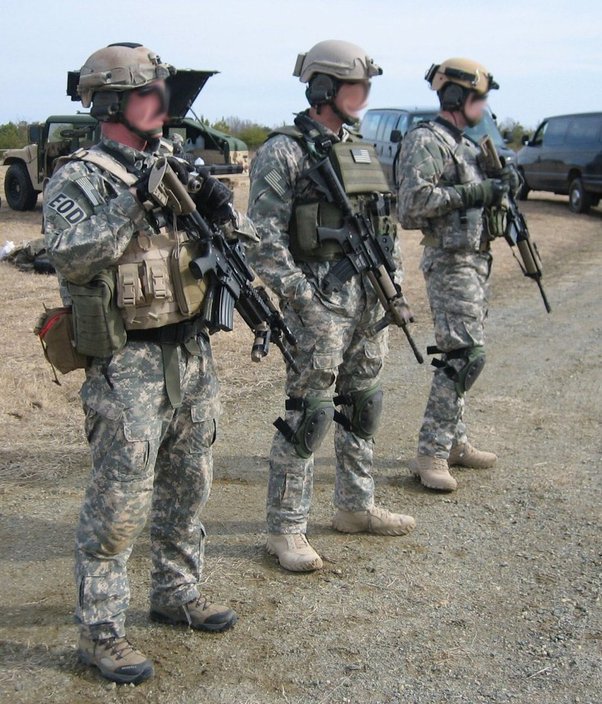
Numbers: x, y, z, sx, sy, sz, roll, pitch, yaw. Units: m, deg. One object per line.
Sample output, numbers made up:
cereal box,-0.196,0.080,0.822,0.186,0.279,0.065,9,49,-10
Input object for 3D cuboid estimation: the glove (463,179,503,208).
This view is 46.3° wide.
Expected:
glove,0.993,-0.871,3.868,0.157,0.080,0.174,3,-30,-4

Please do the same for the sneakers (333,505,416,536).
sneakers,0.362,0.860,3.645,0.455,0.166,0.142,0,23,1

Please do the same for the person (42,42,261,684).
person,-0.526,0.059,2.288,0.426,2.040,0.607,9,14,28

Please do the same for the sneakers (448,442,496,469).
sneakers,1.012,0.664,4.551,0.430,0.160,0.131,0,22,3

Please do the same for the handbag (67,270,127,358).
handbag,-0.620,-0.117,2.100,0.184,0.254,0.124,3,12,4

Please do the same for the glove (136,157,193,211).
glove,-0.372,-0.455,1.978,0.180,0.102,0.083,40,-22,-31

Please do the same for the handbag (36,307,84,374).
handbag,-0.745,-0.036,2.243,0.173,0.199,0.159,-10,19,-7

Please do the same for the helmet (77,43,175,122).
helmet,-0.551,-0.846,2.205,0.294,0.198,0.225,8,25,17

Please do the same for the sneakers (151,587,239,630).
sneakers,-0.393,0.946,2.660,0.365,0.139,0.128,4,9,6

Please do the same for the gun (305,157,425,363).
gun,0.293,-0.392,3.103,0.562,0.893,0.157,-4,14,-28

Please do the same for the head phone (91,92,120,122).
head phone,-0.609,-0.750,2.150,0.067,0.081,0.122,-9,15,-43

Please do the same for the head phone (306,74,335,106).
head phone,0.070,-1.121,3.007,0.153,0.128,0.070,9,14,32

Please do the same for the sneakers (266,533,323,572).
sneakers,-0.027,0.906,3.206,0.124,0.107,0.288,-2,2,-40
